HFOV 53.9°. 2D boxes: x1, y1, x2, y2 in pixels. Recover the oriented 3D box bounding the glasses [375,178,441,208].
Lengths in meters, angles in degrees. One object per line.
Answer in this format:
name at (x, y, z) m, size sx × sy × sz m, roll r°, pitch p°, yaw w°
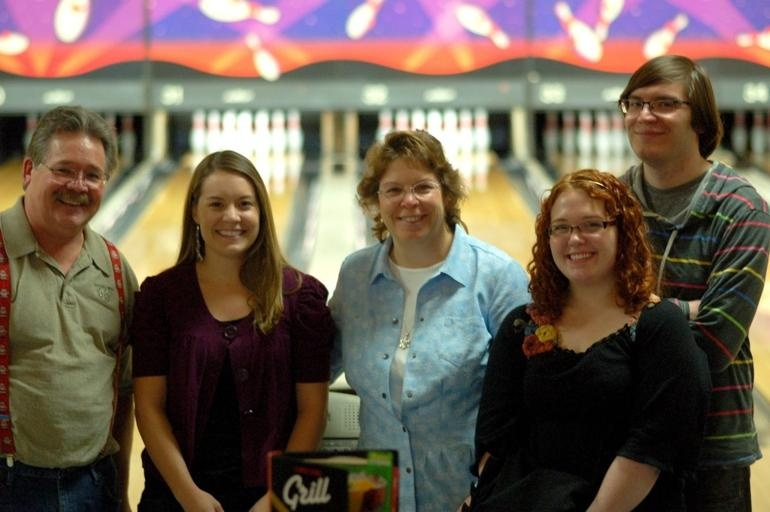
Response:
glasses at (0.072, -0.204, 2.373) m, size 0.185 × 0.077 × 0.049 m, roll 0°, pitch -3°, yaw 4°
